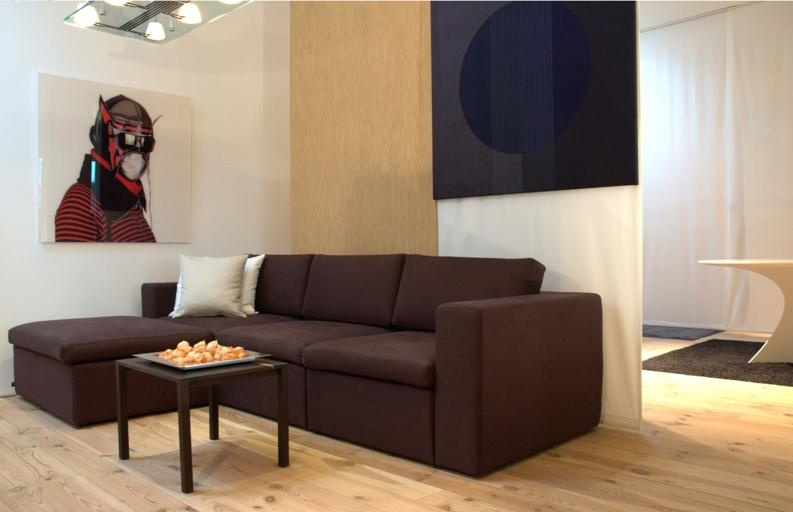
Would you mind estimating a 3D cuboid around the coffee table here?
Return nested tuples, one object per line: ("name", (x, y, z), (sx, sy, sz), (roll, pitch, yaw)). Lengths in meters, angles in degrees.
("coffee table", (-1.223, 0.997, 3.703), (0.816, 0.608, 0.889), (1, -1, -42))
